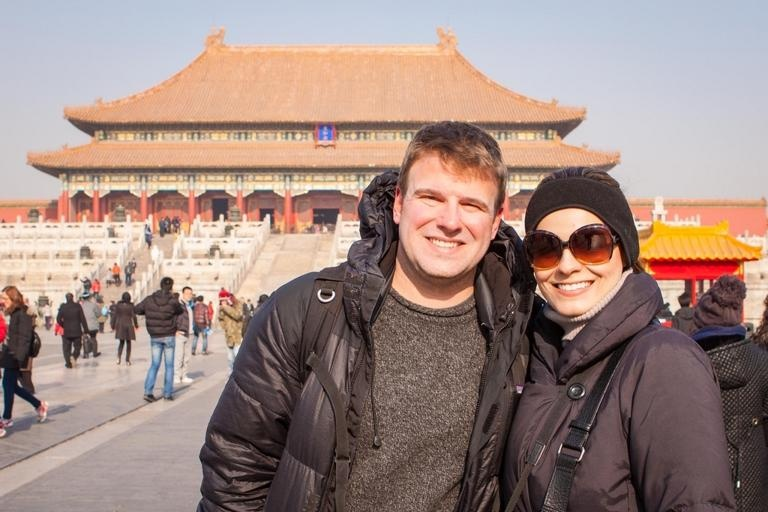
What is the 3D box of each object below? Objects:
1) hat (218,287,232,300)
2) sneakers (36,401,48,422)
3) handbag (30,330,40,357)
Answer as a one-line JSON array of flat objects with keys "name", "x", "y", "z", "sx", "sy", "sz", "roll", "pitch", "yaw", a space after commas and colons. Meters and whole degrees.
[{"name": "hat", "x": -4.095, "y": 0.970, "z": 27.056, "sx": 0.329, "sy": 0.295, "sz": 0.417, "roll": 22, "pitch": 1, "yaw": 11}, {"name": "sneakers", "x": -6.173, "y": 2.807, "z": 18.993, "sx": 0.186, "sy": 0.414, "sz": 0.142, "roll": 7, "pitch": -8, "yaw": -23}, {"name": "handbag", "x": -6.453, "y": 1.624, "z": 19.454, "sx": 0.145, "sy": 0.486, "sz": 0.899, "roll": -4, "pitch": 2, "yaw": -15}]
